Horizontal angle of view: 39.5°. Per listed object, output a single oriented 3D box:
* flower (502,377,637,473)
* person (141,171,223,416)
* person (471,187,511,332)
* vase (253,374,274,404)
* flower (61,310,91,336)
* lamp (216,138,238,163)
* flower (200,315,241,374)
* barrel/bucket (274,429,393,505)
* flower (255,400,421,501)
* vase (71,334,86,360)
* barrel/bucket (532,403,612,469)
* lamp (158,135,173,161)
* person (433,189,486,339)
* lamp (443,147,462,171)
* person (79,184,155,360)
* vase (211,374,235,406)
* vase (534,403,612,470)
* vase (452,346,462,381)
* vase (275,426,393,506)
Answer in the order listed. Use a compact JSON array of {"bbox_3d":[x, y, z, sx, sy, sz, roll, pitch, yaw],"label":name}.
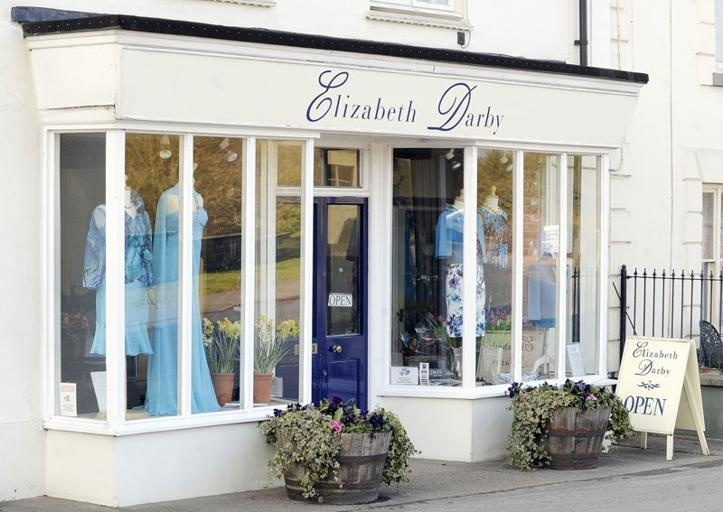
[{"bbox_3d":[2.243,1.777,11.280,1.013,0.777,1.053,-2,-2,-5],"label":"flower"},{"bbox_3d":[-1.831,0.433,10.194,0.696,2.307,0.200,0,-2,-16],"label":"person"},{"bbox_3d":[1.594,0.161,11.870,0.430,1.909,0.154,3,-7,-24],"label":"person"},{"bbox_3d":[-1.026,1.383,10.410,0.243,0.272,0.253,2,-6,-21],"label":"vase"},{"bbox_3d":[-2.840,0.660,10.012,0.286,0.187,0.130,1,10,-1],"label":"flower"},{"bbox_3d":[-1.348,-1.082,10.288,0.062,0.236,0.219,-2,-2,42],"label":"lamp"},{"bbox_3d":[-1.422,0.986,10.485,0.319,0.520,0.288,1,14,-18],"label":"flower"},{"bbox_3d":[-0.243,2.059,9.902,0.776,0.500,0.783,1,-7,0],"label":"barrel/bucket"},{"bbox_3d":[-0.264,1.932,9.968,1.027,0.710,1.075,0,-5,9],"label":"flower"},{"bbox_3d":[-2.796,0.888,10.002,0.173,0.261,0.250,0,1,-22],"label":"vase"},{"bbox_3d":[2.311,1.973,11.008,0.663,0.561,0.649,1,-1,0],"label":"barrel/bucket"},{"bbox_3d":[-1.948,-1.092,10.022,0.136,0.341,0.148,-6,-45,1],"label":"lamp"},{"bbox_3d":[1.158,0.098,11.720,0.574,1.729,0.205,-1,-2,6],"label":"person"},{"bbox_3d":[1.034,-1.099,11.567,0.212,0.235,0.052,-2,4,35],"label":"lamp"},{"bbox_3d":[-2.410,0.156,9.995,0.672,1.687,0.248,0,-2,-17],"label":"person"},{"bbox_3d":[-1.423,1.368,10.465,0.251,0.295,0.258,-2,-5,9],"label":"vase"},{"bbox_3d":[2.323,1.972,11.043,0.664,0.565,0.651,1,-1,-10],"label":"vase"},{"bbox_3d":[1.113,1.216,11.645,0.123,0.427,0.071,-2,-2,23],"label":"vase"},{"bbox_3d":[-0.205,1.996,9.918,0.776,0.518,0.782,2,-6,-11],"label":"vase"}]
